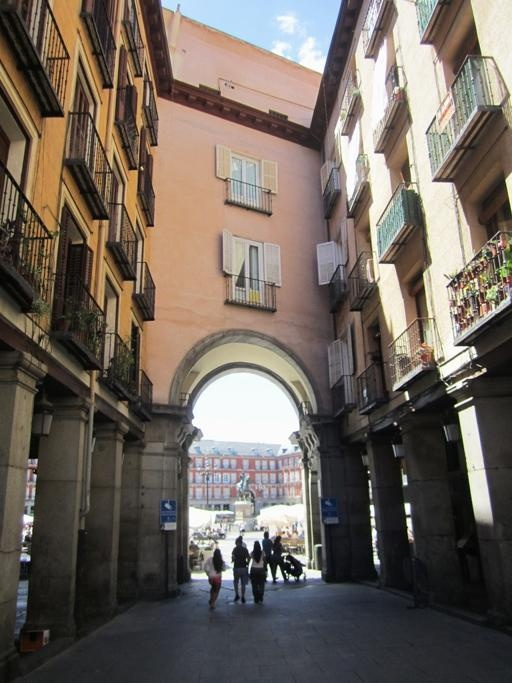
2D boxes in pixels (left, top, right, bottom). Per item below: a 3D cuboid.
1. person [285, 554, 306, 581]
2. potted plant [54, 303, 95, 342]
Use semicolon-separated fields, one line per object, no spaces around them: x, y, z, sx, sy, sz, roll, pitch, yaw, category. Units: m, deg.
1.353;8.064;16.388;0.481;0.834;0.858;15;-27;-41;person
-2.590;-0.305;6.621;0.565;0.283;0.409;-15;-31;41;potted plant
